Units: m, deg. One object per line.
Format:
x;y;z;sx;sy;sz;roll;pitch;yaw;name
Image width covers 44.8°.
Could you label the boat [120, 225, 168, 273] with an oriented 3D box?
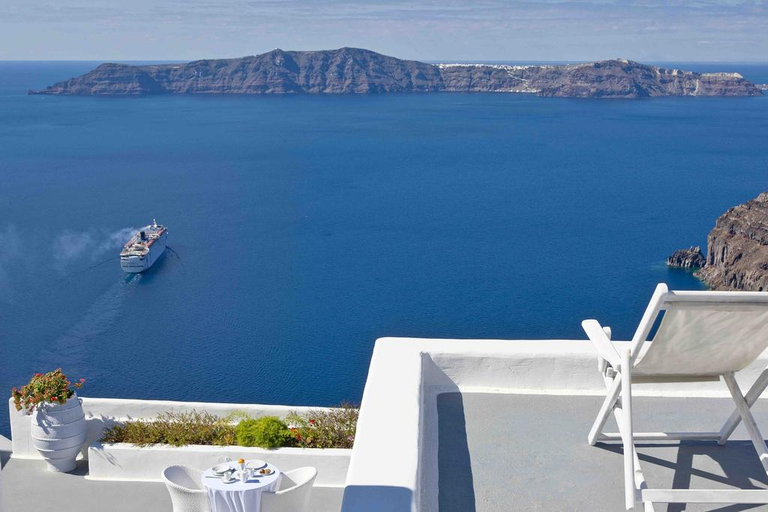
-34.732;-1.225;135.528;4.548;3.525;9.125;7;28;2;boat
